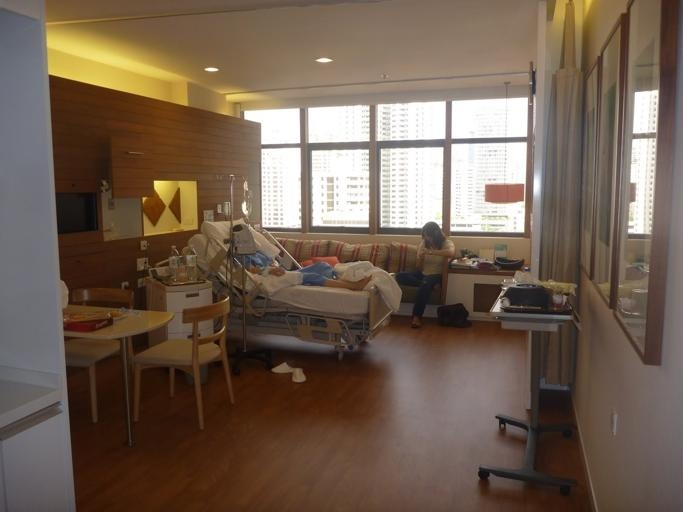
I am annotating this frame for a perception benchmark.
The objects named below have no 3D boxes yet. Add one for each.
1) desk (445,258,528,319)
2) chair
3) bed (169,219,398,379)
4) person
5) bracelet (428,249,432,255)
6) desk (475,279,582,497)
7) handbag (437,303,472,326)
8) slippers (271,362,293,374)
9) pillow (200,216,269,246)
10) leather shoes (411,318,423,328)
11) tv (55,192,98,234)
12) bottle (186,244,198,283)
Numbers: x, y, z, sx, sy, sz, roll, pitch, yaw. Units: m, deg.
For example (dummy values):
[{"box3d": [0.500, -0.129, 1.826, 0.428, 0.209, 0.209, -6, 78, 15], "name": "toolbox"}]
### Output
[{"box3d": [1.824, 0.375, 6.843, 1.124, 0.889, 0.611, 3, 8, 21], "name": "desk"}, {"box3d": [-1.254, 0.726, 3.776, 1.109, 0.797, 0.856, 4, 4, 15], "name": "chair"}, {"box3d": [-0.534, 0.270, 5.484, 2.005, 1.317, 1.246, 7, 4, 20], "name": "bed"}, {"box3d": [1.067, 0.195, 6.832, 0.731, 1.345, 0.762, 6, 3, 28], "name": "person"}, {"box3d": [1.158, -0.049, 6.786, 0.049, 0.053, 0.012, 0, -9, 34], "name": "bracelet"}, {"box3d": [1.314, 0.757, 3.574, 0.562, 1.158, 1.134, 4, 10, 23], "name": "desk"}, {"box3d": [1.396, 0.729, 6.493, 0.410, 0.253, 0.237, 2, 9, 10], "name": "handbag"}, {"box3d": [-0.569, 1.060, 4.965, 0.201, 0.049, 0.274, -2, 10, -12], "name": "slippers"}, {"box3d": [-1.273, -0.280, 5.436, 0.436, 0.139, 0.427, -2, 35, -45], "name": "pillow"}, {"box3d": [0.923, 0.810, 6.445, 0.124, 0.108, 0.186, 1, 10, 7], "name": "leather shoes"}, {"box3d": [-2.507, -0.405, 4.909, 0.049, 0.359, 0.478, 1, 6, 21], "name": "tv"}, {"box3d": [-1.429, 0.068, 4.983, 0.098, 0.267, 0.339, -3, 10, -16], "name": "bottle"}]
